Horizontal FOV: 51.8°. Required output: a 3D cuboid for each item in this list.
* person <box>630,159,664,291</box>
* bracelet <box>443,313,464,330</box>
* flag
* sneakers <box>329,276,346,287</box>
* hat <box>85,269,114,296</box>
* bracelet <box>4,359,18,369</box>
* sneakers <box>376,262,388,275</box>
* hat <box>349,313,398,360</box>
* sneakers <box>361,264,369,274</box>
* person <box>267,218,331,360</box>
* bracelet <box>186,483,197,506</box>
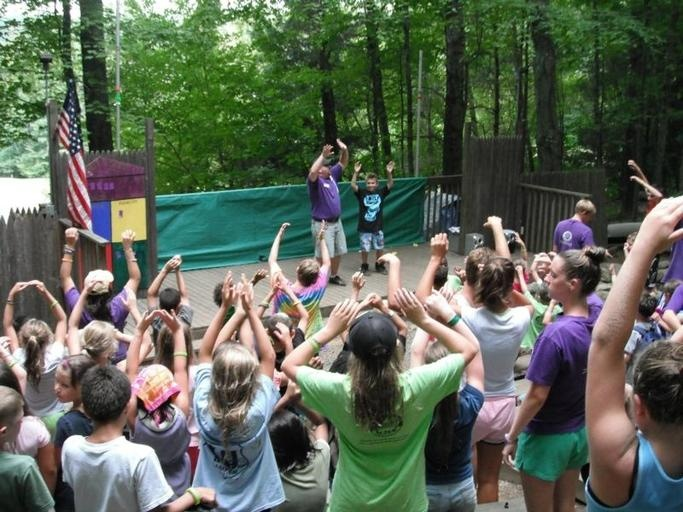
[{"bbox_3d":[4.716,-0.314,10.613,0.476,2.059,0.605,-11,-26,42],"label":"person"},{"bbox_3d":[0.768,0.445,4.822,0.073,0.105,0.101,39,-20,-11],"label":"bracelet"},{"bbox_3d":[-3.546,-1.256,9.244,0.344,1.825,0.745,-3,5,-17],"label":"flag"},{"bbox_3d":[-0.083,0.429,12.442,0.276,0.134,0.145,10,12,42],"label":"sneakers"},{"bbox_3d":[-2.437,0.251,7.043,0.192,0.123,0.308,10,35,4],"label":"hat"},{"bbox_3d":[-2.668,0.866,5.675,0.048,0.073,0.124,-1,4,2],"label":"bracelet"},{"bbox_3d":[0.763,0.210,13.120,0.129,0.252,0.333,-7,11,-35],"label":"sneakers"},{"bbox_3d":[0.189,0.501,4.337,0.203,0.166,0.360,4,46,2],"label":"hat"},{"bbox_3d":[0.419,0.225,12.976,0.109,0.197,0.191,0,-2,3],"label":"sneakers"},{"bbox_3d":[-0.512,0.732,8.204,0.633,2.279,0.644,0,25,-8],"label":"person"},{"bbox_3d":[-0.989,1.591,4.703,0.029,0.101,0.091,-15,41,-14],"label":"bracelet"}]
